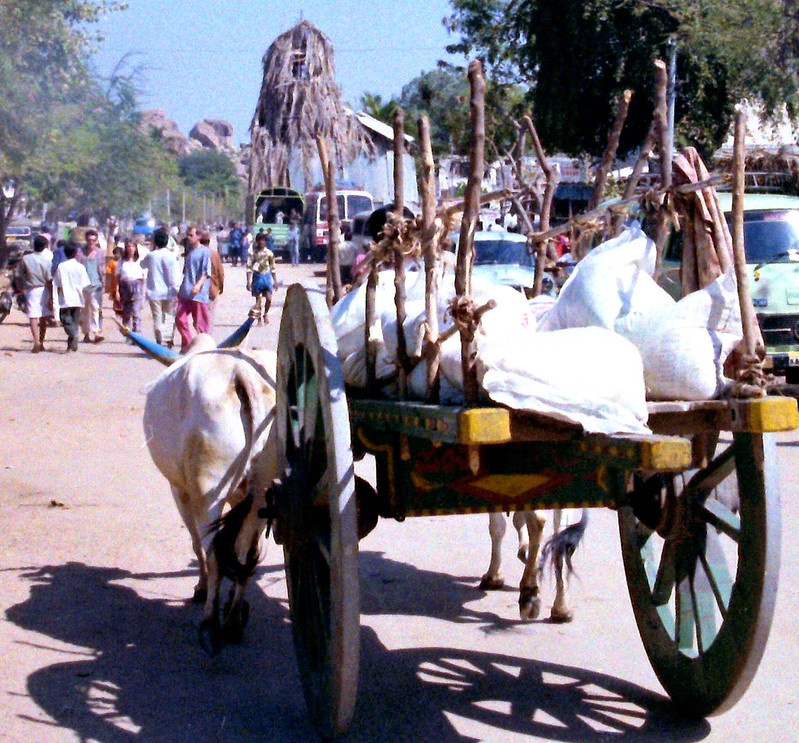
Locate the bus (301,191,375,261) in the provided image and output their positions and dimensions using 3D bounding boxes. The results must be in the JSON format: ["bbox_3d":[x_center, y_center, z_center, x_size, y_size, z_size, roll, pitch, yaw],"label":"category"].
[{"bbox_3d":[-1.503,-3.073,31.522,2.002,2.354,4.212,-1,11,-5],"label":"bus"}]

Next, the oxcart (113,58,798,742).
[{"bbox_3d":[0.260,0.142,6.077,1.433,2.347,3.268,0,7,-15],"label":"oxcart"}]

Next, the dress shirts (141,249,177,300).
[{"bbox_3d":[-2.673,-1.128,14.555,0.437,0.587,0.298,3,13,-1],"label":"dress shirts"}]

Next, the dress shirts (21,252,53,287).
[{"bbox_3d":[-4.575,-1.272,16.395,0.307,0.428,0.207,1,14,-7],"label":"dress shirts"}]

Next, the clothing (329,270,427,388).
[{"bbox_3d":[-0.109,-0.154,5.536,0.129,0.449,0.464,25,-12,-4],"label":"clothing"}]

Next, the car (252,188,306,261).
[{"bbox_3d":[-2.941,-3.826,34.456,1.495,2.389,3.352,0,7,-8],"label":"car"}]

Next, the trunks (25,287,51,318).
[{"bbox_3d":[-4.571,-0.882,16.427,0.163,0.358,0.239,13,17,15],"label":"trunks"}]

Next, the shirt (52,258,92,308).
[{"bbox_3d":[-4.053,-1.148,16.019,0.384,0.606,0.210,-3,34,-12],"label":"shirt"}]
